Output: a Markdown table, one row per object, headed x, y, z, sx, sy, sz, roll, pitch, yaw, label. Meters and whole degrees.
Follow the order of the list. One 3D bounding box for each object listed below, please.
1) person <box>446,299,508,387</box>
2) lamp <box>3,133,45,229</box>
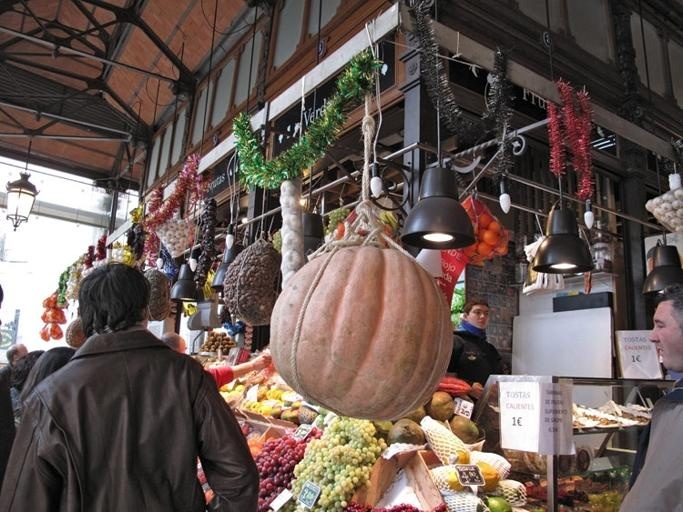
| x | y | z | sx | sy | sz | roll | pitch | yaw | label |
| --- | --- | --- | --- | --- | --- | --- | --- | --- | --- |
| 1.084 | 0.749 | 4.242 | 0.450 | 0.860 | 0.423 | 5 | 1 | -25 | person |
| -4.726 | -0.832 | 7.594 | 0.373 | 1.007 | 0.746 | 6 | -11 | -33 | lamp |
